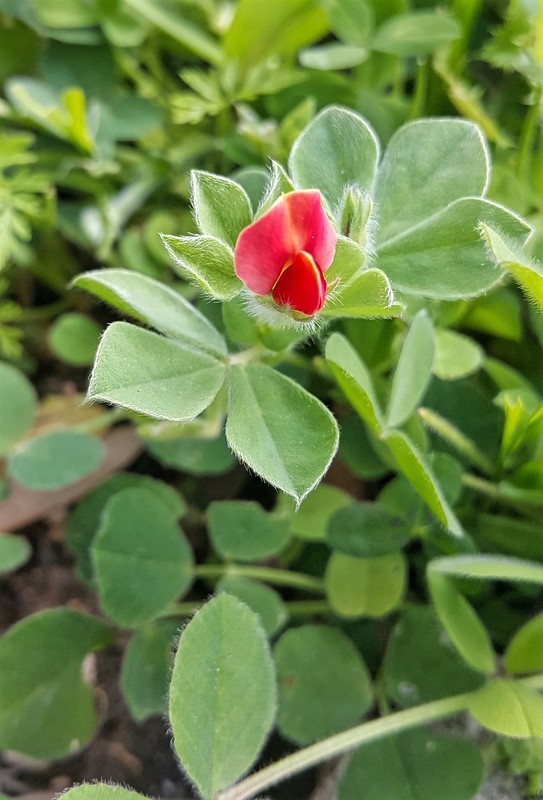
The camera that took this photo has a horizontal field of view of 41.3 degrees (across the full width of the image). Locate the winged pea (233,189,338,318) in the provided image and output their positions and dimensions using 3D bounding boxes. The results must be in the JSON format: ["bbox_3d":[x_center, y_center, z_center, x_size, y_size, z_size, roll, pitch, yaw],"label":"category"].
[{"bbox_3d":[0.008,-0.063,0.354,0.050,0.063,0.023,39,72,4],"label":"winged pea"}]
